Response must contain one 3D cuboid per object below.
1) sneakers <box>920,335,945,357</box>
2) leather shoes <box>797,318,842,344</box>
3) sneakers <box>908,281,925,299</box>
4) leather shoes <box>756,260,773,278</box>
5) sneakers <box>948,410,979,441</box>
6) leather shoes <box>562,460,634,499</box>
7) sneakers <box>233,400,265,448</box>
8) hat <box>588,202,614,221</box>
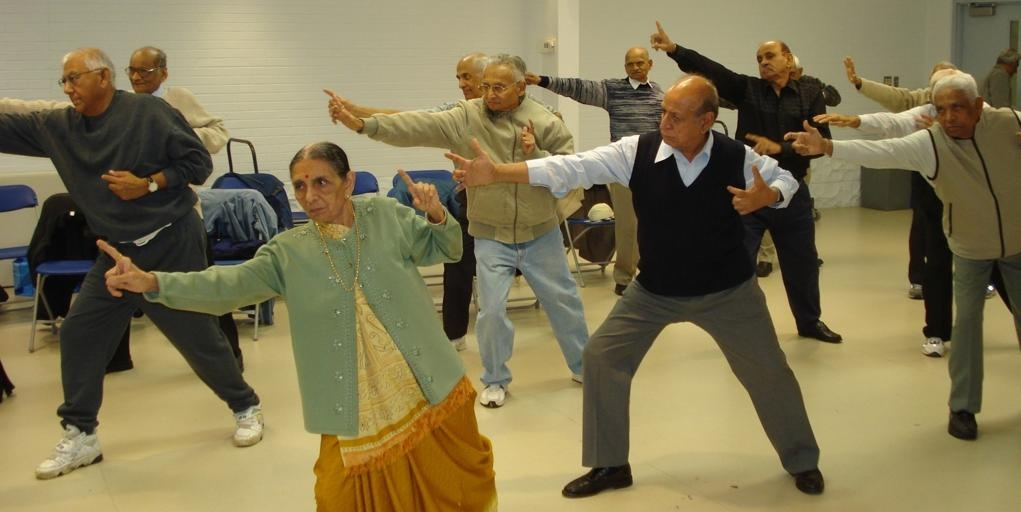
[{"bbox_3d":[4.115,0.881,6.272,0.147,0.085,0.241,-1,15,20],"label":"sneakers"},{"bbox_3d":[3.197,0.801,6.740,0.516,0.170,0.170,3,7,33],"label":"leather shoes"},{"bbox_3d":[4.755,0.423,7.571,0.183,0.173,0.460,-1,-5,17],"label":"sneakers"},{"bbox_3d":[3.329,0.182,8.475,0.278,0.212,0.242,0,-3,1],"label":"leather shoes"},{"bbox_3d":[3.656,1.357,5.202,0.211,0.202,0.169,4,18,29],"label":"sneakers"},{"bbox_3d":[0.666,1.670,4.906,0.641,0.213,0.195,-3,11,-11],"label":"leather shoes"},{"bbox_3d":[-2.207,1.446,5.450,0.217,0.168,0.394,-2,4,-5],"label":"sneakers"},{"bbox_3d":[1.213,-0.562,8.555,0.339,0.172,0.211,2,9,17],"label":"hat"}]
